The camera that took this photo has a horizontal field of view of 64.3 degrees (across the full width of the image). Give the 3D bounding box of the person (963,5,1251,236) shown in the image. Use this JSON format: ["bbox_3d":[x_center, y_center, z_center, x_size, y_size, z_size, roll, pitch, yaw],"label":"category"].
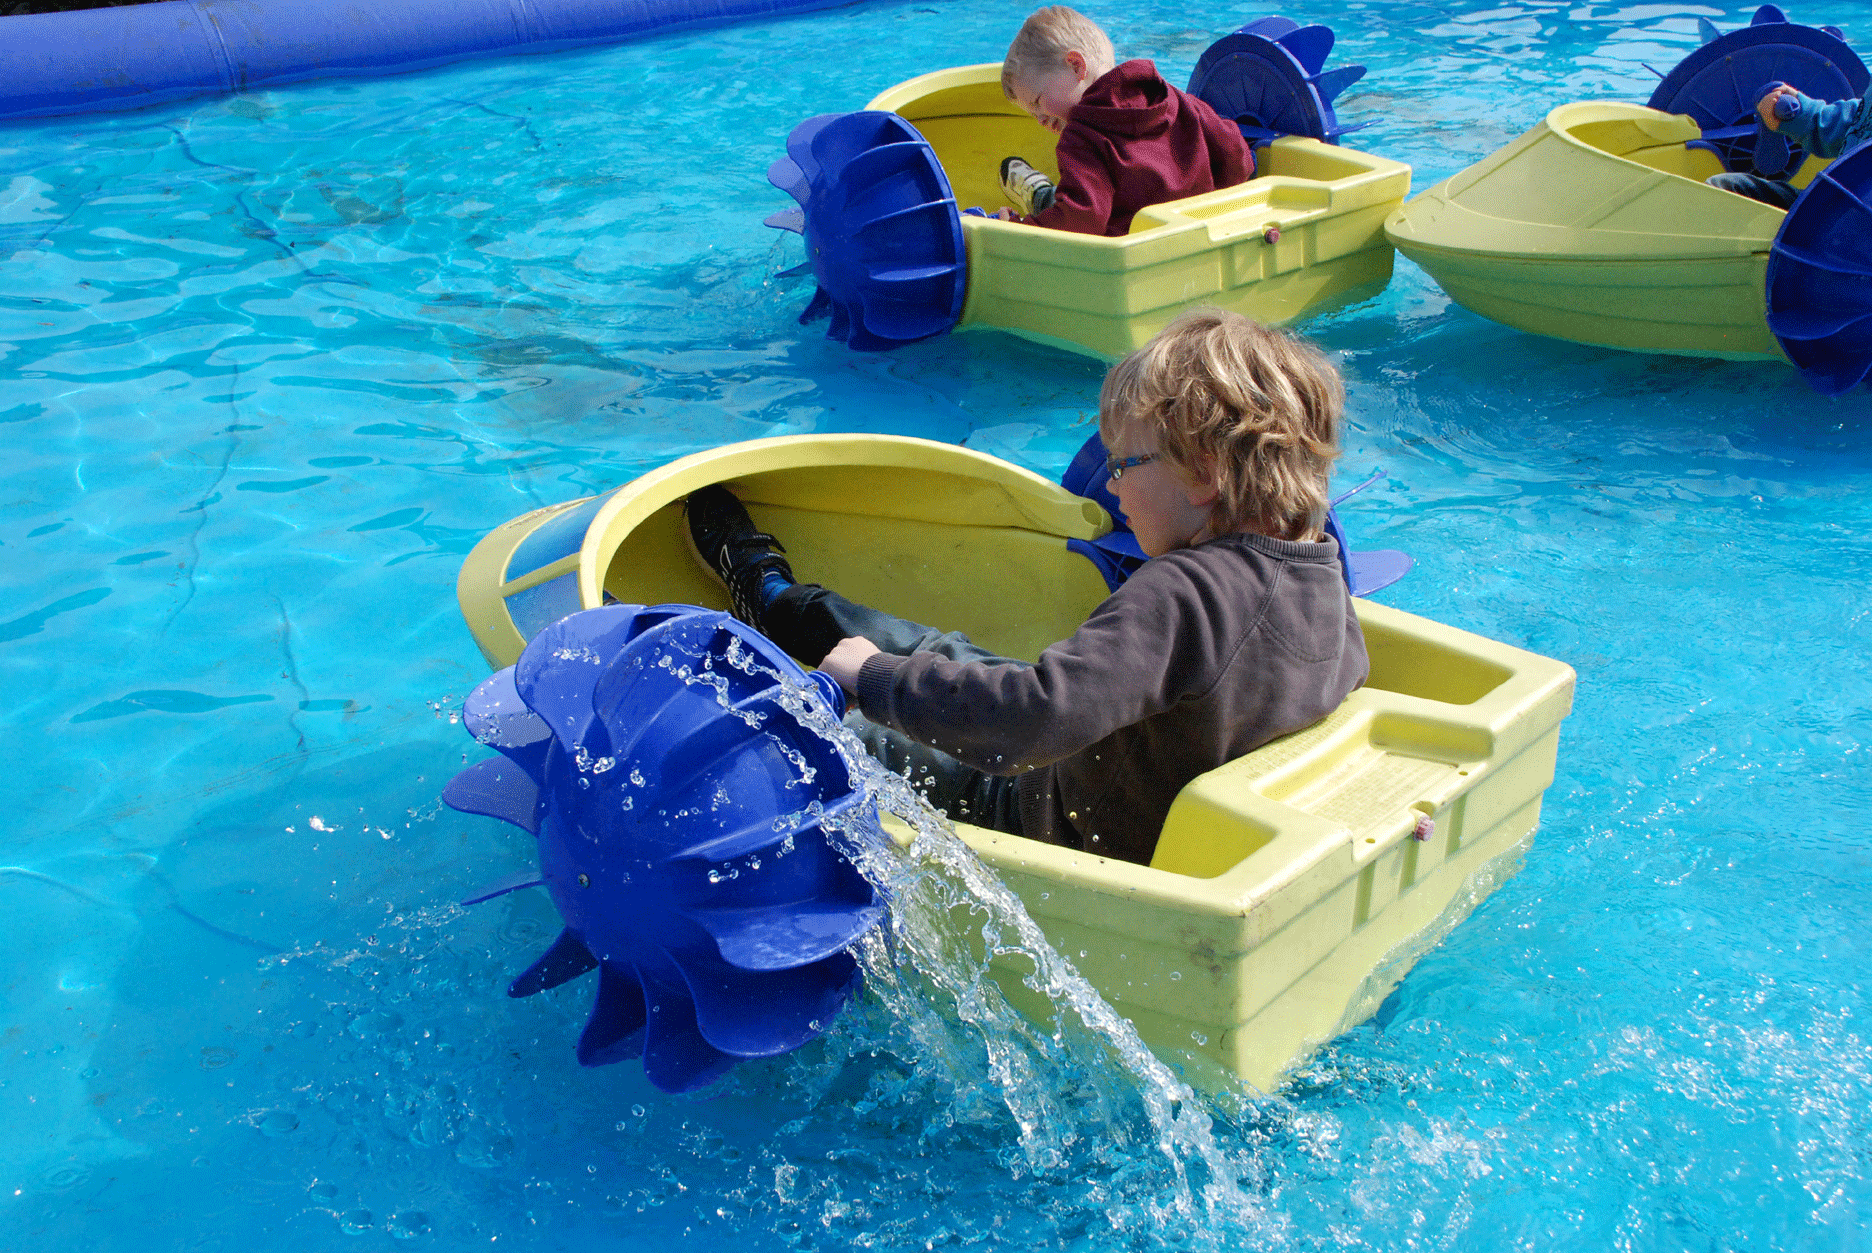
[{"bbox_3d":[0.575,-1.675,5.054,0.869,0.689,0.906,-18,34,-23],"label":"person"}]

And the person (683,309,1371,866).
[{"bbox_3d":[0.140,-0.106,3.441,1.872,1.032,1.236,10,12,44],"label":"person"}]
